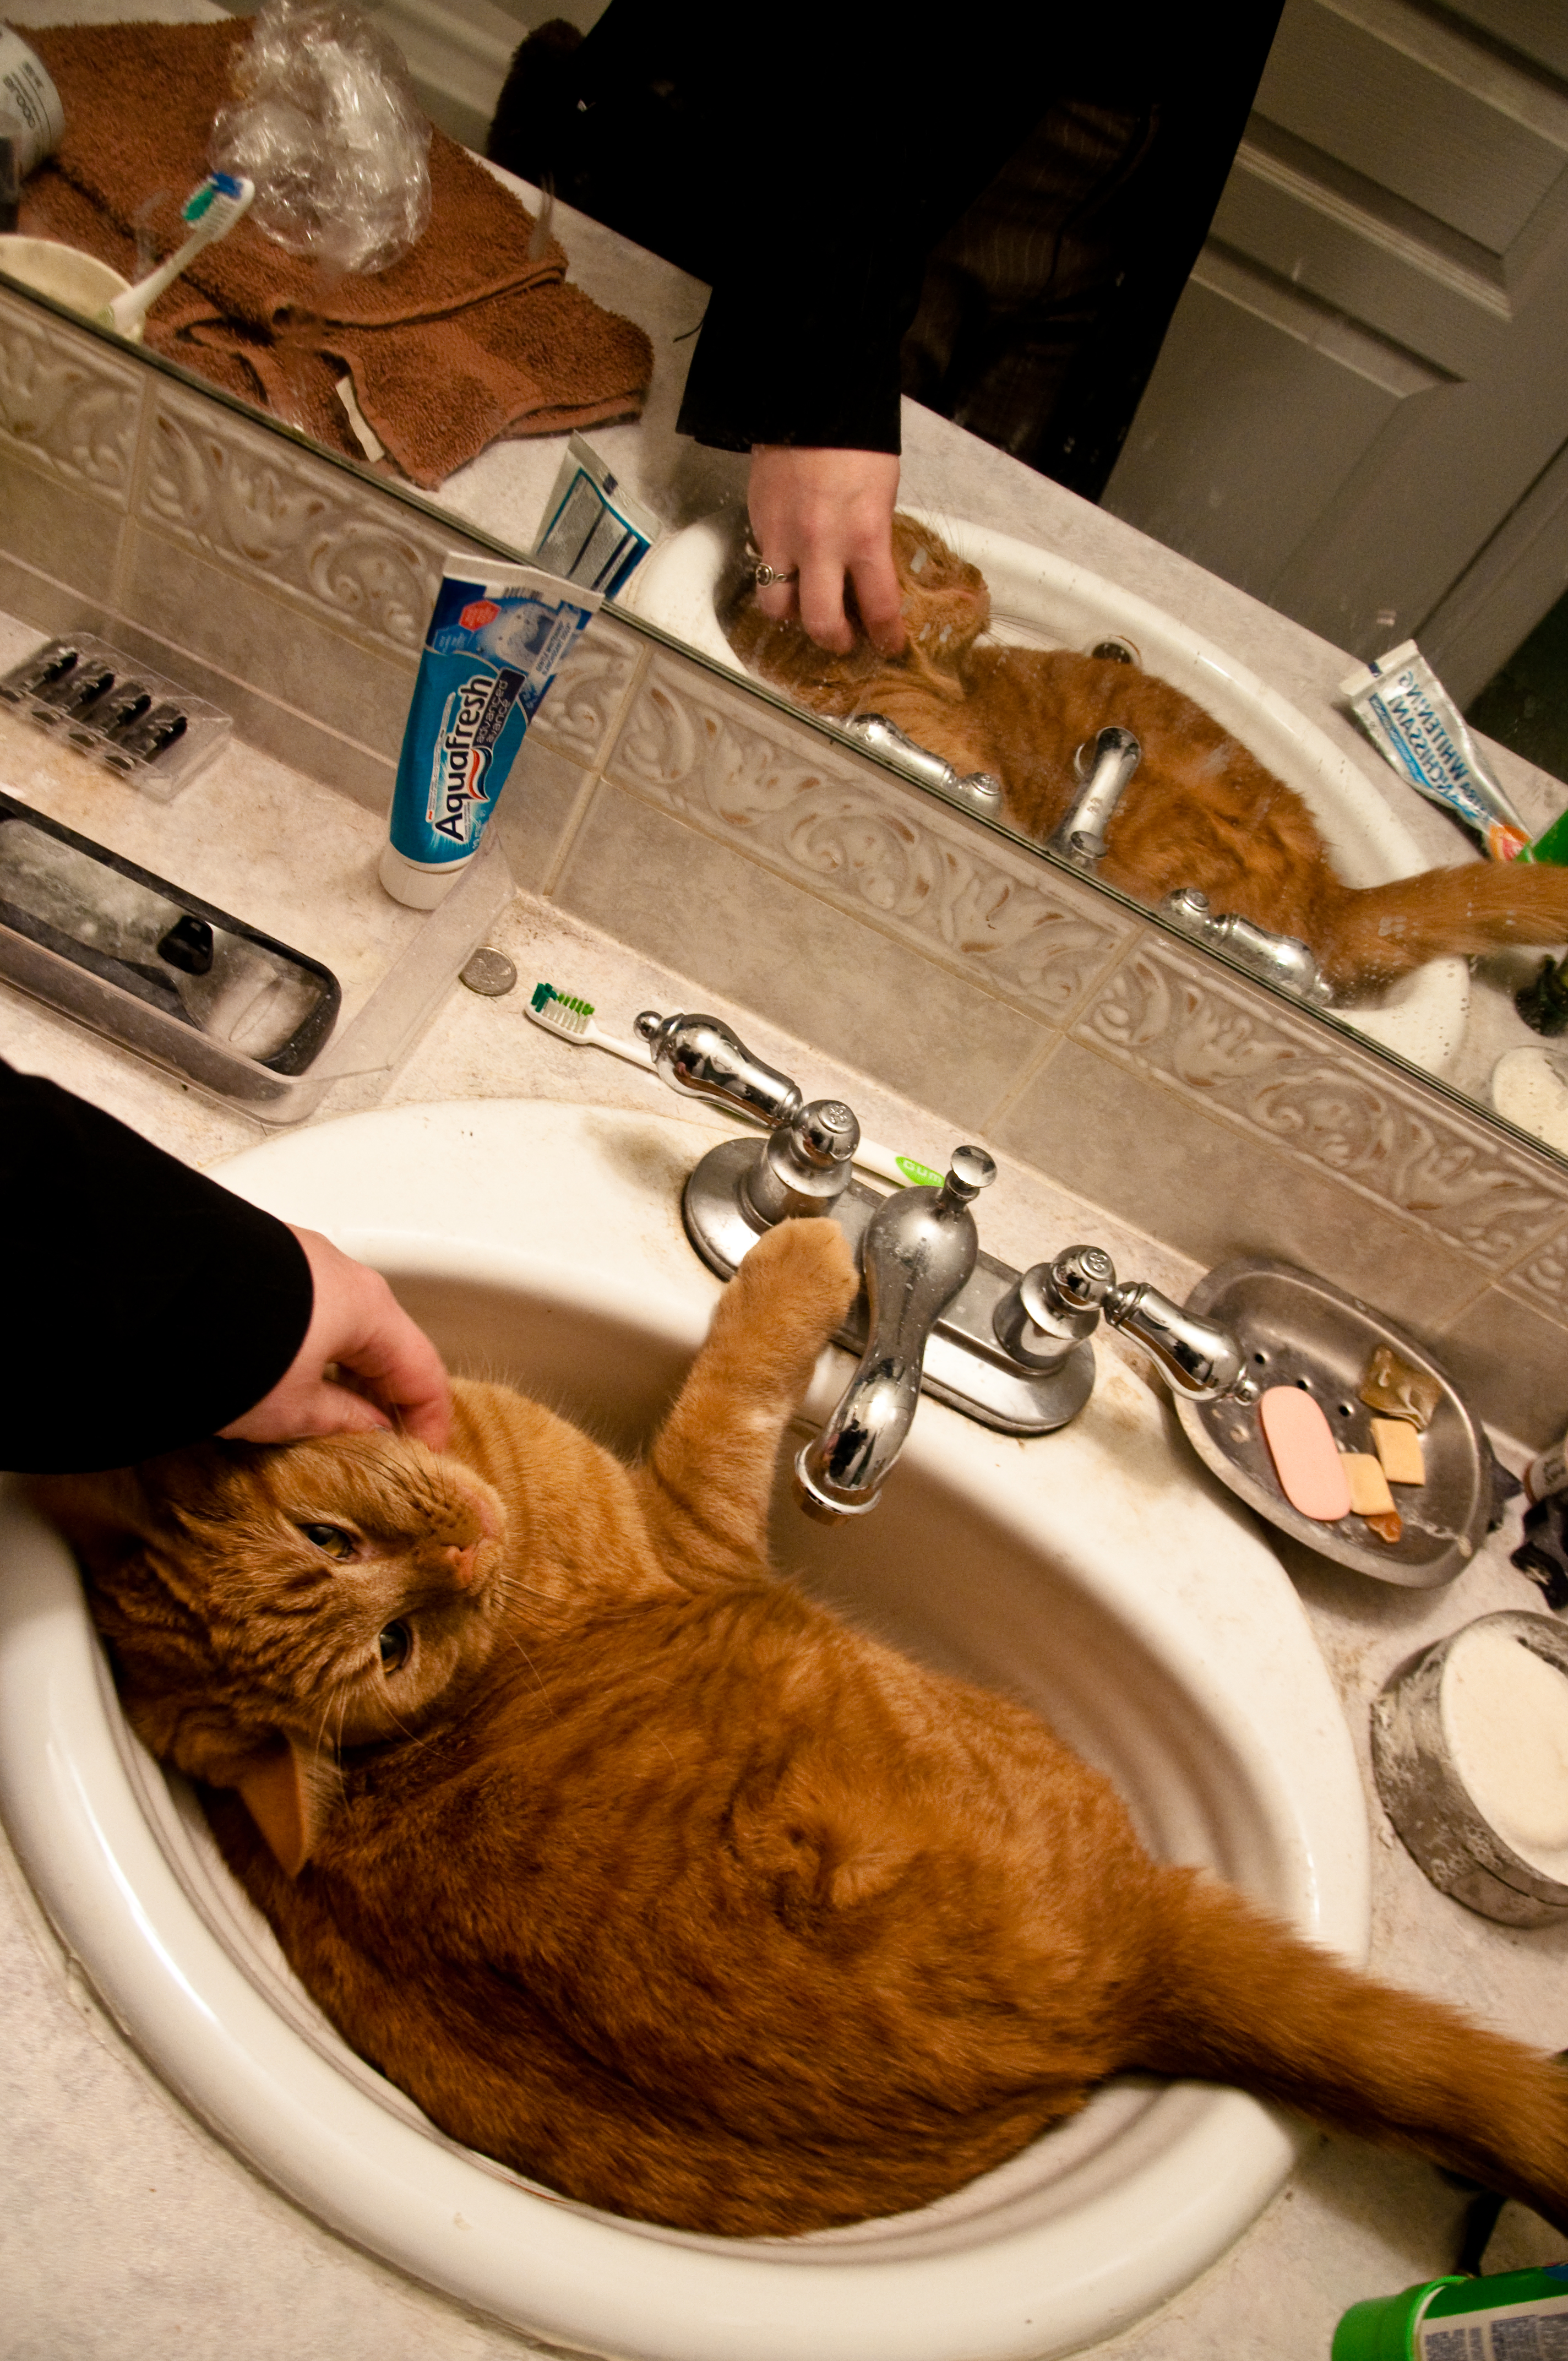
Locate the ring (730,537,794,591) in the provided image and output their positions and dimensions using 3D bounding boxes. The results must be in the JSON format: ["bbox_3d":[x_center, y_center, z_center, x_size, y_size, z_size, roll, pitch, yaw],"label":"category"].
[{"bbox_3d":[-0.010,-0.279,0.875,0.019,0.023,0.009,19,63,25],"label":"ring"}]

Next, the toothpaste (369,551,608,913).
[{"bbox_3d":[-0.138,-0.202,0.870,0.101,0.113,0.082,-8,43,-13],"label":"toothpaste"}]

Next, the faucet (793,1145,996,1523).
[{"bbox_3d":[0.036,0.090,0.848,0.089,0.160,0.125,17,40,4],"label":"faucet"}]

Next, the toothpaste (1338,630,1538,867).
[{"bbox_3d":[0.280,-0.187,0.827,0.135,0.040,0.016,43,44,-31],"label":"toothpaste"}]

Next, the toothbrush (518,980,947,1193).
[{"bbox_3d":[-0.029,-0.046,0.959,0.181,0.030,0.030,26,54,-11],"label":"toothbrush"}]
